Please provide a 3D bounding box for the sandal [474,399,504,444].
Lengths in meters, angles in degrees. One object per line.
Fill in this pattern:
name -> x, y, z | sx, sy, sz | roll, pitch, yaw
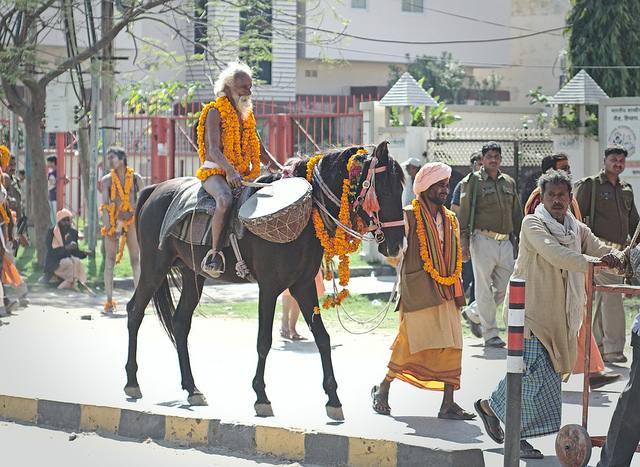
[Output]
sandal -> 2.212, 2.498, 16.919 | 0.191, 0.629, 0.239 | -25, -1, 40

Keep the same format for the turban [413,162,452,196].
turban -> 1.515, -0.827, 17.751 | 0.401, 0.298, 0.375 | -1, -9, -3

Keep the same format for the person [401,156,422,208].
person -> 1.484, -0.823, 21.021 | 0.344, 1.093, 0.898 | 2, 9, 2

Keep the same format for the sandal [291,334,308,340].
sandal -> -0.340, 1.671, 20.735 | 0.278, 0.114, 0.089 | -1, -2, 1

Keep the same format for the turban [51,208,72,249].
turban -> -4.846, -0.092, 24.050 | 0.358, 0.705, 0.339 | -1, 7, -8

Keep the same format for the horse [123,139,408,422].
horse -> -0.918, 0.603, 18.105 | 4.525, 3.845, 1.342 | 1, -1, 29

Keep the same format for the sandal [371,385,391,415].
sandal -> 0.801, 2.291, 17.564 | 0.173, 0.202, 0.451 | 1, 33, -35

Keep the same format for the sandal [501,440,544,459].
sandal -> 2.603, 2.779, 16.633 | 0.541, 0.134, 0.234 | -1, 5, 11

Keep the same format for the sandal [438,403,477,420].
sandal -> 1.856, 2.422, 17.506 | 0.512, 0.224, 0.194 | -1, 0, 3
